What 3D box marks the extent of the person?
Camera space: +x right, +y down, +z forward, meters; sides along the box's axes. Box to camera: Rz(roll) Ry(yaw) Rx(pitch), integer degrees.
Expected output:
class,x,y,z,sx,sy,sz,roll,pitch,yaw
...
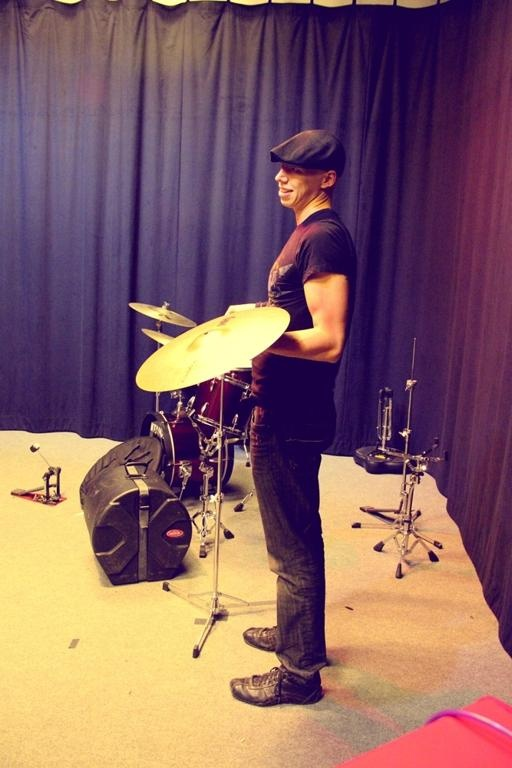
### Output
class,x,y,z,sx,sy,sz,roll,pitch,yaw
person,0.080,0.136,1.545,0.270,1.527,0.503,3,7,5

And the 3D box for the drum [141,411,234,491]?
class,x,y,z,sx,sy,sz,roll,pitch,yaw
drum,-0.366,0.349,3.429,0.397,0.564,0.513,1,14,-29

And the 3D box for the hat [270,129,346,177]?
class,x,y,z,sx,sy,sz,roll,pitch,yaw
hat,0.124,-0.562,1.487,0.145,0.080,0.110,18,29,-7

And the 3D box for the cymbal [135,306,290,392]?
class,x,y,z,sx,sy,sz,roll,pitch,yaw
cymbal,-0.107,-0.078,1.278,0.251,0.176,0.470,0,8,-18

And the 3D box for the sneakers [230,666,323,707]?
class,x,y,z,sx,sy,sz,roll,pitch,yaw
sneakers,0.058,0.809,1.744,0.256,0.131,0.106,3,-2,5
